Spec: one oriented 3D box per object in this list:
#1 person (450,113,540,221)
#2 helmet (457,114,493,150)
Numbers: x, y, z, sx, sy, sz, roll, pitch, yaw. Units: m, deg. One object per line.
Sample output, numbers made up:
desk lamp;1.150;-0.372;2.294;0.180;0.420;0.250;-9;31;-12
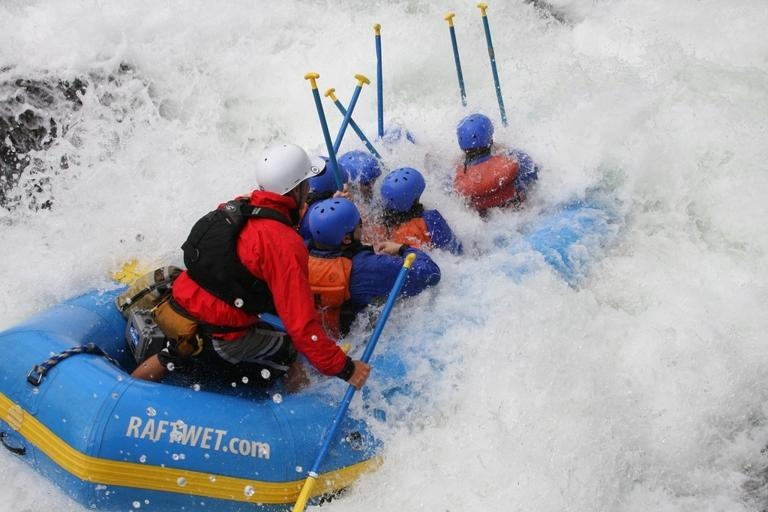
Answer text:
person;1.373;-1.057;12.132;0.831;1.007;1.606;-4;-36;27
helmet;1.113;-1.522;12.017;0.321;0.499;0.366;-4;23;-15
